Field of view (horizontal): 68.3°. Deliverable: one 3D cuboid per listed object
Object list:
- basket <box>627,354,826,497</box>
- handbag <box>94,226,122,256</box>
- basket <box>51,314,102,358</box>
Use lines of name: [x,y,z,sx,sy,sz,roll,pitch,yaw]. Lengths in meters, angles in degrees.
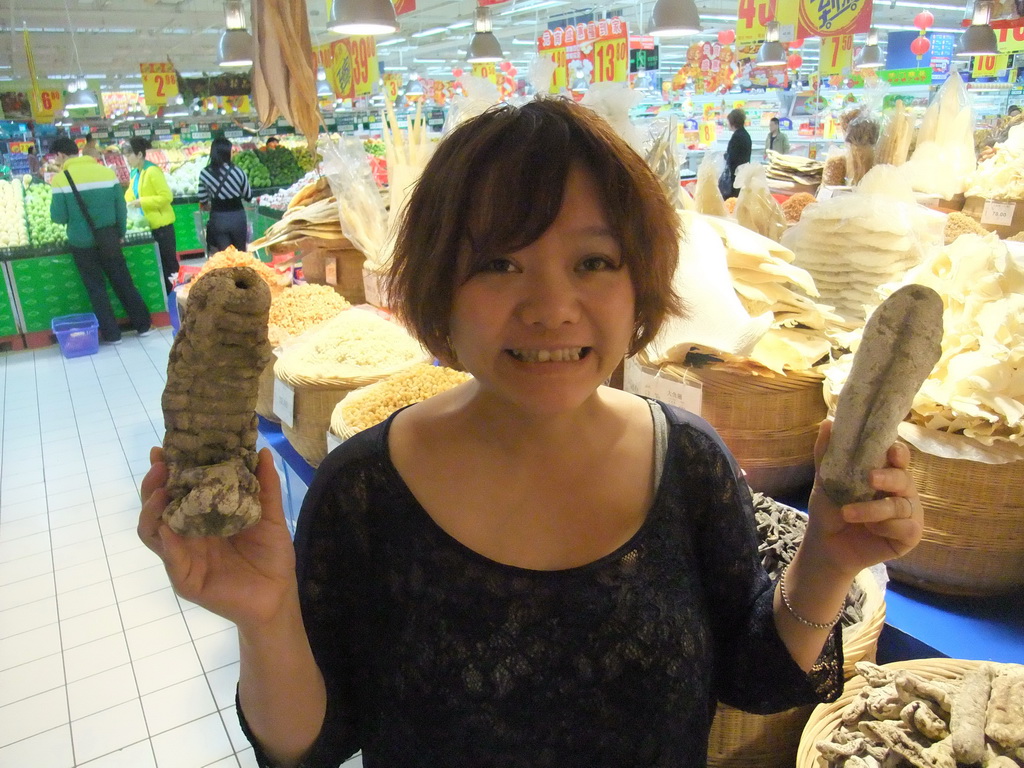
basket: [0.577,0.072,2.135,0.408,0.286,0.468,-1,4,-40]
handbag: [-3.824,-1.363,7.156,0.180,0.234,0.072,4,-2,-9]
basket: [-4.068,-0.498,7.104,0.515,0.358,0.404,-4,22,-21]
